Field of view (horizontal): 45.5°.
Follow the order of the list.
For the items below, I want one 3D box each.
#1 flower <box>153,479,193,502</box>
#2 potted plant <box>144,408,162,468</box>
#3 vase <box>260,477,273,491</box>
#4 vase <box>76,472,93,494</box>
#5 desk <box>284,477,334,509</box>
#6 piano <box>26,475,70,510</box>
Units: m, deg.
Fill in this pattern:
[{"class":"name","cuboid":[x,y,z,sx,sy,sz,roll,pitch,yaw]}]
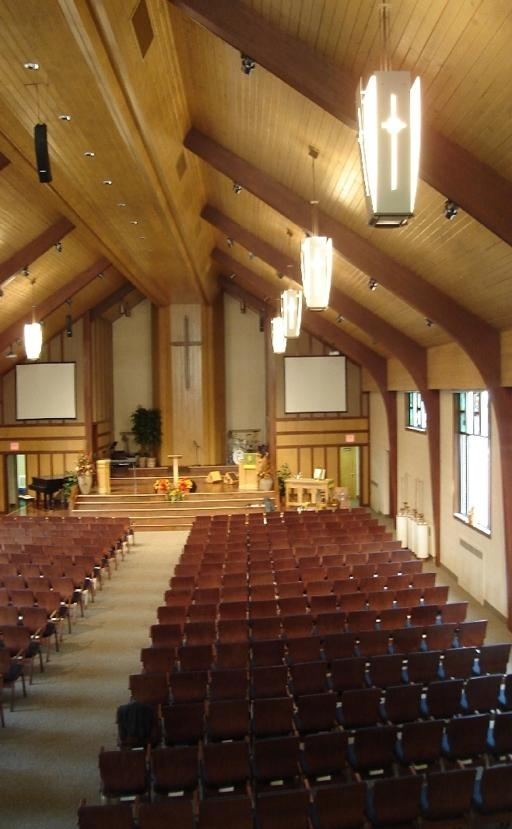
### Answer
[{"class":"flower","cuboid":[-2.493,2.298,18.790,1.038,0.650,1.170,-2,-2,0]},{"class":"potted plant","cuboid":[-3.963,0.935,23.766,0.517,2.163,1.000,-1,-1,-11]},{"class":"vase","cuboid":[0.365,2.244,19.527,0.350,0.374,0.369,0,-4,0]},{"class":"vase","cuboid":[-5.481,2.181,19.407,0.550,0.959,0.607,1,-3,-5]},{"class":"desk","cuboid":[1.748,2.531,19.273,1.254,0.877,0.963,-1,-6,13]},{"class":"piano","cuboid":[-7.016,2.571,20.529,1.042,1.022,1.320,-1,-3,7]}]
